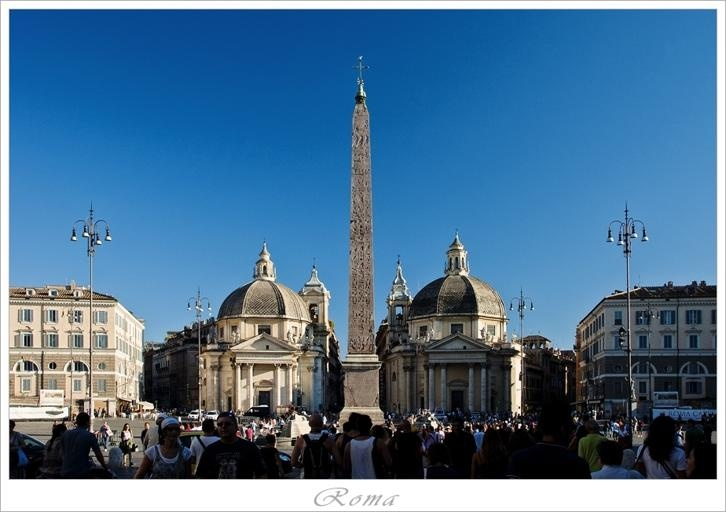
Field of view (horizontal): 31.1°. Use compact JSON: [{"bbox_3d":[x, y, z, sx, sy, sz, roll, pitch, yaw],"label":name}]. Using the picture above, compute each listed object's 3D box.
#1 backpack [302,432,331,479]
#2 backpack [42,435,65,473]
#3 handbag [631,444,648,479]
[{"bbox_3d":[-0.795,3.466,22.395,0.637,0.895,0.493,1,-36,-3],"label":"backpack"},{"bbox_3d":[-5.391,3.496,22.637,0.311,0.688,0.773,5,-14,-17],"label":"backpack"},{"bbox_3d":[4.498,3.347,21.150,0.183,0.531,0.341,-2,-14,11],"label":"handbag"}]
